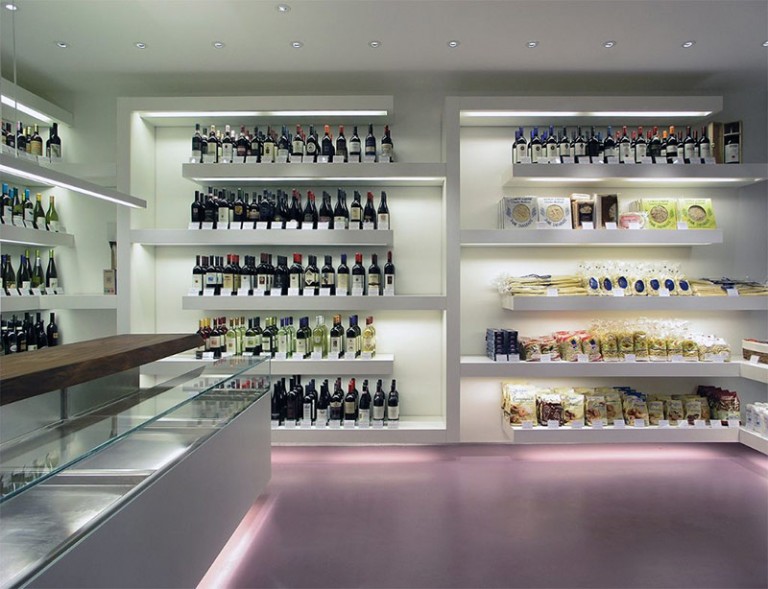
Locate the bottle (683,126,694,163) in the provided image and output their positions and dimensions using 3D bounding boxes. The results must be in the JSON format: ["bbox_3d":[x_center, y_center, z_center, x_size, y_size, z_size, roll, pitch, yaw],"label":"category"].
[{"bbox_3d":[2.465,-1.192,4.839,0.090,0.274,0.310,6,14,27],"label":"bottle"}]

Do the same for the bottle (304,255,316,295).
[{"bbox_3d":[-0.595,-0.153,4.862,0.111,0.297,0.220,-1,12,-1],"label":"bottle"}]

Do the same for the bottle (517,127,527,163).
[{"bbox_3d":[1.124,-1.183,4.848,0.096,0.252,0.205,1,12,9],"label":"bottle"}]

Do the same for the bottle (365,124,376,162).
[{"bbox_3d":[-0.106,-1.235,4.946,0.101,0.288,0.260,-1,12,-1],"label":"bottle"}]

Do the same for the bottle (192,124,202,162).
[{"bbox_3d":[-1.512,-1.215,4.878,0.088,0.303,0.210,-2,12,-7],"label":"bottle"}]

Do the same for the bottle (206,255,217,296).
[{"bbox_3d":[-1.410,-0.152,4.907,0.113,0.268,0.241,-4,13,-17],"label":"bottle"}]

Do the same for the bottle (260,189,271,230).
[{"bbox_3d":[-0.963,-0.685,4.891,0.086,0.281,0.228,-3,12,-10],"label":"bottle"}]

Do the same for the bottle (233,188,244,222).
[{"bbox_3d":[-1.178,-0.705,4.883,0.089,0.243,0.164,-7,13,-28],"label":"bottle"}]

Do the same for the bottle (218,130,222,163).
[{"bbox_3d":[-1.326,-1.164,4.894,0.030,0.173,0.121,-4,12,-17],"label":"bottle"}]

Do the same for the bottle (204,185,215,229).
[{"bbox_3d":[-1.412,-0.670,4.894,0.108,0.256,0.163,-4,12,-16],"label":"bottle"}]

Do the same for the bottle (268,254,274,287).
[{"bbox_3d":[-0.933,-0.208,5.007,0.052,0.254,0.329,-3,13,-11],"label":"bottle"}]

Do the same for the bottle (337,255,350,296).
[{"bbox_3d":[-0.334,-0.175,4.918,0.113,0.324,0.301,-1,12,-3],"label":"bottle"}]

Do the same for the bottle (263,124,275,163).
[{"bbox_3d":[-0.919,-1.194,4.849,0.094,0.273,0.251,-2,12,-9],"label":"bottle"}]

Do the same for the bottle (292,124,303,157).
[{"bbox_3d":[-0.694,-1.242,4.900,0.101,0.240,0.167,-2,12,-8],"label":"bottle"}]

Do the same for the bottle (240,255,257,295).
[{"bbox_3d":[-1.109,-0.155,4.901,0.133,0.278,0.270,-2,12,-7],"label":"bottle"}]

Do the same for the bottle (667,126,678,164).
[{"bbox_3d":[2.300,-1.175,4.771,0.085,0.271,0.144,4,13,22],"label":"bottle"}]

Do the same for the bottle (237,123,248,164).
[{"bbox_3d":[-1.146,-1.211,4.884,0.098,0.269,0.152,-3,12,-14],"label":"bottle"}]

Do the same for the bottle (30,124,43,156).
[{"bbox_3d":[-2.864,-1.257,4.946,0.080,0.250,0.221,-5,13,-19],"label":"bottle"}]

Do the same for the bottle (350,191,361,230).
[{"bbox_3d":[-0.232,-0.686,4.896,0.104,0.289,0.201,-1,12,-1],"label":"bottle"}]

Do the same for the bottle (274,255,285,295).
[{"bbox_3d":[-0.841,-0.150,4.867,0.100,0.289,0.196,-3,12,-10],"label":"bottle"}]

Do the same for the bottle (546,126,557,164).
[{"bbox_3d":[1.350,-1.179,4.807,0.088,0.261,0.200,3,12,16],"label":"bottle"}]

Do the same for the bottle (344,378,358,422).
[{"bbox_3d":[-0.262,0.839,4.885,0.111,0.321,0.239,0,12,0],"label":"bottle"}]

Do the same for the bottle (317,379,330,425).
[{"bbox_3d":[-0.486,0.856,4.874,0.119,0.310,0.285,-2,12,-6],"label":"bottle"}]

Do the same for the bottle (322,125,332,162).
[{"bbox_3d":[-0.459,-1.218,4.878,0.099,0.286,0.169,-2,12,-5],"label":"bottle"}]

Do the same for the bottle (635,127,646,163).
[{"bbox_3d":[2.070,-1.180,4.817,0.091,0.260,0.211,5,13,25],"label":"bottle"}]

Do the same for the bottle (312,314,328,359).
[{"bbox_3d":[-0.516,0.339,4.908,0.139,0.318,0.363,-2,12,-7],"label":"bottle"}]

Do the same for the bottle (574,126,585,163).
[{"bbox_3d":[1.580,-1.177,4.798,0.115,0.262,0.189,3,12,17],"label":"bottle"}]

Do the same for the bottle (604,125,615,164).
[{"bbox_3d":[1.814,-1.186,4.809,0.098,0.275,0.241,4,13,19],"label":"bottle"}]

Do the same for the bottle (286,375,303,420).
[{"bbox_3d":[-0.716,0.823,4.841,0.139,0.367,0.192,-2,12,-9],"label":"bottle"}]

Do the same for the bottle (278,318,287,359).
[{"bbox_3d":[-0.816,0.348,4.843,0.086,0.300,0.158,-3,12,-10],"label":"bottle"}]

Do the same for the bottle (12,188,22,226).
[{"bbox_3d":[-3.009,-0.717,4.934,0.082,0.274,0.647,-7,14,-30],"label":"bottle"}]
